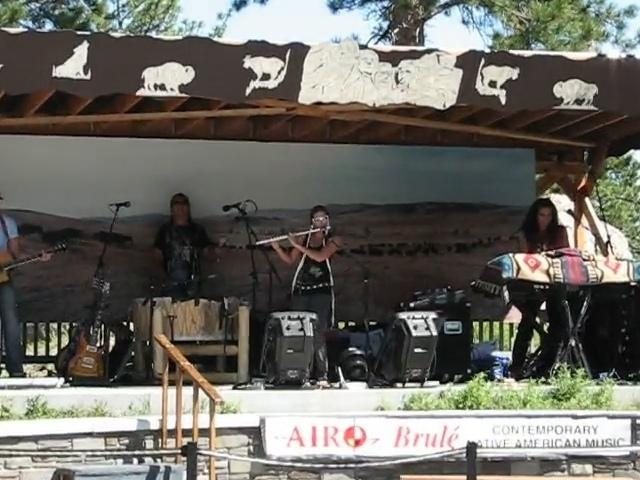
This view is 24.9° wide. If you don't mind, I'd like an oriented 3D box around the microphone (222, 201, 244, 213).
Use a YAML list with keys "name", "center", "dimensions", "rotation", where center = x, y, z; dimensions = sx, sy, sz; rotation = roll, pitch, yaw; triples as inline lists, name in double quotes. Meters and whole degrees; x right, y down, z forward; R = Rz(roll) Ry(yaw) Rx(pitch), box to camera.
- name: "microphone"
  center: [-1.307, -0.532, 21.969]
  dimensions: [0.292, 0.209, 0.507]
  rotation: [0, -8, -5]

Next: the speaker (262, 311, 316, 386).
- name: "speaker"
  center: [-0.387, 1.439, 19.347]
  dimensions: [0.843, 1.152, 0.656]
  rotation: [2, 11, -6]

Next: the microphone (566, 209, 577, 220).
- name: "microphone"
  center: [4.237, -0.453, 24.550]
  dimensions: [0.107, 0.142, 0.359]
  rotation: [-8, 0, 2]

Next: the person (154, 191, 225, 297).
- name: "person"
  center: [-1.965, 0.086, 21.691]
  dimensions: [0.810, 1.566, 0.513]
  rotation: [6, -10, -36]

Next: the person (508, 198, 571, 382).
- name: "person"
  center: [3.078, 0.620, 20.360]
  dimensions: [0.834, 2.666, 1.583]
  rotation: [-2, -8, 9]

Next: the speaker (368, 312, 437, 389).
- name: "speaker"
  center: [1.147, 1.525, 19.555]
  dimensions: [0.700, 0.943, 0.510]
  rotation: [12, 22, -23]
